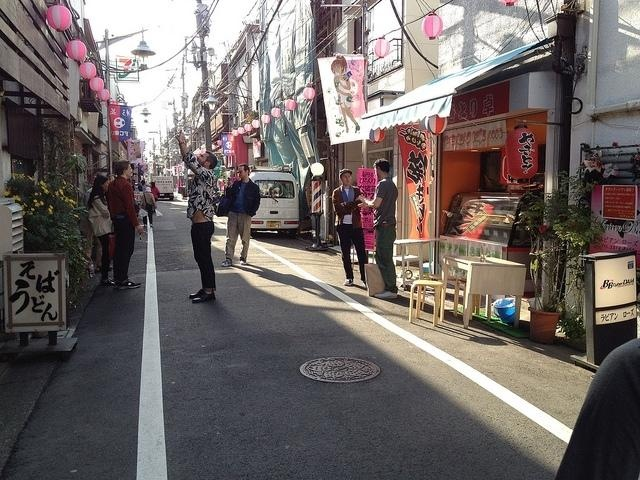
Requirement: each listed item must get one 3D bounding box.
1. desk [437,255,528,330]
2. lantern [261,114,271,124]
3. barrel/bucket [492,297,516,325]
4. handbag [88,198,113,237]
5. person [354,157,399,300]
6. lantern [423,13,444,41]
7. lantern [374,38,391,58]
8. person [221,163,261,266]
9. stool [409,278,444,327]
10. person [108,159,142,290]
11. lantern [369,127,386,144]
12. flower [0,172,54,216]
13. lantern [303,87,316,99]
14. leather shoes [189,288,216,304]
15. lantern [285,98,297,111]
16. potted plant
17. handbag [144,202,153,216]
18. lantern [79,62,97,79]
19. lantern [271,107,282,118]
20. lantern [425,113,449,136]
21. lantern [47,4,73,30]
[{"bbox_3d":[2.473,0.526,7.786,0.929,1.429,1.375,2,8,-1],"label":"desk"},{"bbox_3d":[-2.650,-6.014,24.240,0.421,0.565,0.442,16,20,37],"label":"lantern"},{"bbox_3d":[2.868,1.097,7.637,0.283,0.333,0.342,-5,2,-2],"label":"barrel/bucket"},{"bbox_3d":[-4.552,-0.500,10.167,0.356,0.777,0.555,2,-14,-17],"label":"handbag"},{"bbox_3d":[1.152,-0.205,9.046,0.523,2.543,0.380,0,2,4],"label":"person"},{"bbox_3d":[2.336,-4.406,10.224,0.413,0.564,0.461,-1,8,13],"label":"lantern"},{"bbox_3d":[1.542,-4.912,12.395,0.319,0.473,0.407,0,3,-1],"label":"lantern"},{"bbox_3d":[-2.085,-0.668,12.708,0.946,2.608,0.933,0,2,-11],"label":"person"},{"bbox_3d":[1.659,0.937,7.860,0.570,0.873,0.658,5,15,18],"label":"stool"},{"bbox_3d":[-3.967,-0.320,9.920,0.598,2.587,0.989,-1,2,-25],"label":"person"},{"bbox_3d":[1.264,-2.381,11.116,0.228,0.270,0.257,-3,11,-2],"label":"lantern"},{"bbox_3d":[-4.544,-0.727,7.731,0.659,0.542,0.736,24,-3,-14],"label":"flower"},{"bbox_3d":[-0.386,-5.263,17.530,0.433,0.605,0.467,-9,20,-29],"label":"lantern"},{"bbox_3d":[-2.109,1.008,8.767,0.301,0.166,0.244,2,2,-22],"label":"leather shoes"},{"bbox_3d":[-1.165,-5.437,19.698,0.442,0.466,0.382,16,12,39],"label":"lantern"},{"bbox_3d":[3.556,0.127,7.410,1.069,2.404,1.889,1,3,24],"label":"potted plant"},{"bbox_3d":[-7.517,-1.395,21.426,0.259,0.296,0.861,-24,-4,-17],"label":"handbag"},{"bbox_3d":[-6.496,-4.669,13.733,0.436,0.618,0.490,-2,10,-10],"label":"lantern"},{"bbox_3d":[-1.916,-5.534,21.204,0.482,0.690,0.548,-2,15,-4],"label":"lantern"},{"bbox_3d":[2.023,-2.070,8.803,0.344,0.459,0.372,-9,21,-18],"label":"lantern"},{"bbox_3d":[-4.658,-3.972,8.866,0.380,0.530,0.418,-7,14,-19],"label":"lantern"}]
